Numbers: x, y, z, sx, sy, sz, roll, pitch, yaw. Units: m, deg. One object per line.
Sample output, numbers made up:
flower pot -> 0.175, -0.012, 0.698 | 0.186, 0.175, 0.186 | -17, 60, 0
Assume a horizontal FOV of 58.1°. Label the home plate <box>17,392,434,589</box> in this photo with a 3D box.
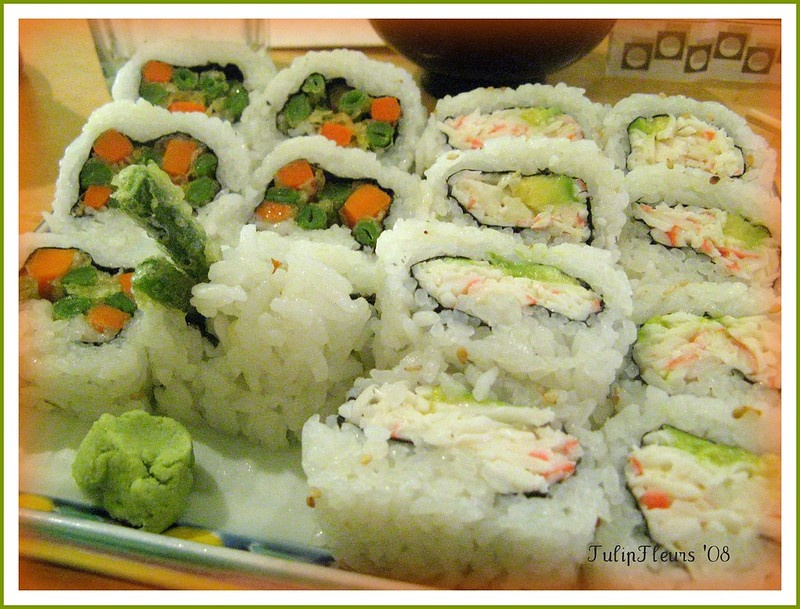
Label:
home plate -> -0.830, 0.732, 2.672 | 0.840, 0.124, 0.785 | 3, 26, -12
